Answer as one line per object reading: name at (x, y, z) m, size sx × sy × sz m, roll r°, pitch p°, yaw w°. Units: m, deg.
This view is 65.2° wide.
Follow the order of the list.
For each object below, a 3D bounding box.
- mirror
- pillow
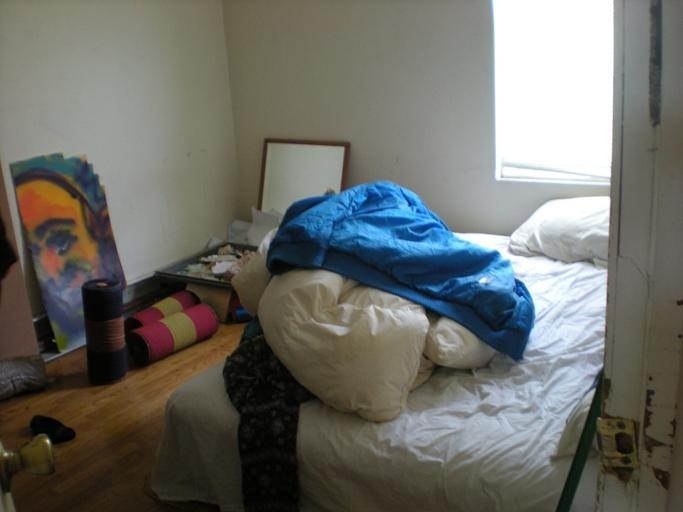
mirror at (-0.263, -0.583, 3.902) m, size 0.722 × 0.808 × 0.031 m, roll 6°, pitch 5°, yaw 25°
pillow at (1.336, -0.179, 3.307) m, size 0.558 × 0.200 × 0.612 m, roll -30°, pitch 25°, yaw -34°
